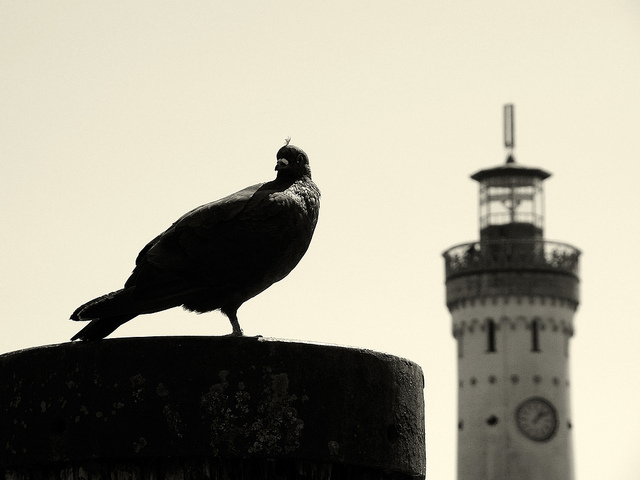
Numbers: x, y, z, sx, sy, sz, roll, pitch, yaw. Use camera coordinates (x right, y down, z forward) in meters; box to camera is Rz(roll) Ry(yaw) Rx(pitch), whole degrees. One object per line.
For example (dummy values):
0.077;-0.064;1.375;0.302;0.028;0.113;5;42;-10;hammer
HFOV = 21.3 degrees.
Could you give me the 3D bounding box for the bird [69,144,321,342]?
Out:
-0.560;-0.002;8.585;1.207;1.013;0.537;-2;-6;-11;bird
